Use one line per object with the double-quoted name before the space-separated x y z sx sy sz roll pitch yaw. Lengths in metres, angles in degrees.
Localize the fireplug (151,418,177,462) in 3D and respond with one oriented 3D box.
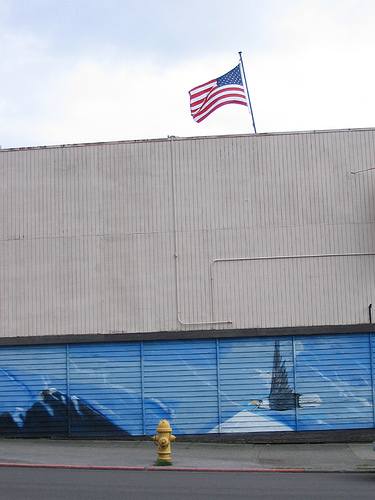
"fireplug" -0.514 4.406 26.364 0.424 1.003 0.492 1 -7 -28
